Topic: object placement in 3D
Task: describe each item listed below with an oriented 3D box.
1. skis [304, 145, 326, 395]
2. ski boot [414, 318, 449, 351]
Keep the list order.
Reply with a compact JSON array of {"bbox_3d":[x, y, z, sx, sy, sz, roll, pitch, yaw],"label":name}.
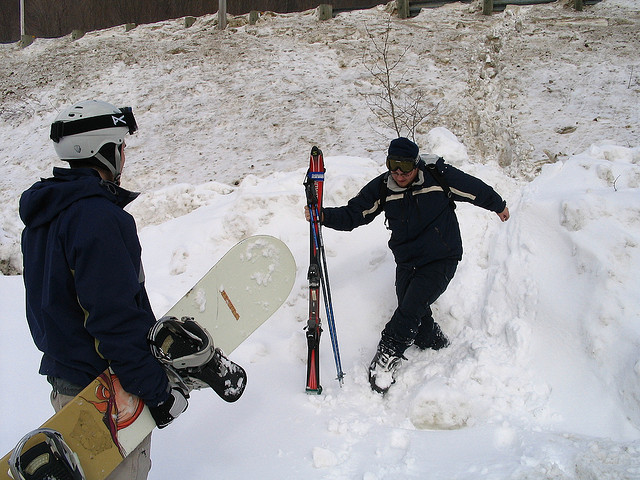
[{"bbox_3d":[-0.063,0.303,7.027,0.252,2.578,0.276,2,-3,0],"label":"skis"},{"bbox_3d":[1.255,1.061,7.168,0.424,0.454,0.269,-2,-2,39],"label":"ski boot"}]
